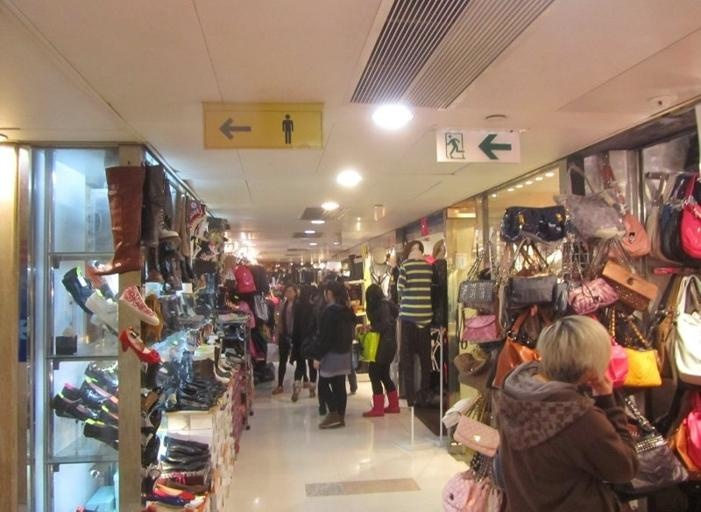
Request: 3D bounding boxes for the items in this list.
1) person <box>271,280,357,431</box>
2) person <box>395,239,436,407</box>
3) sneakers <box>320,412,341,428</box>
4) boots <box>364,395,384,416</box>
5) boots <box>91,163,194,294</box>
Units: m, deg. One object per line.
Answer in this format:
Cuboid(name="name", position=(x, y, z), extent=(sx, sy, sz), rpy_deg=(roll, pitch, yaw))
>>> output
Cuboid(name="person", position=(-0.256, 1.136, 6.343), extent=(0.533, 1.579, 0.618), rpy_deg=(3, 1, -24))
Cuboid(name="person", position=(0.783, 0.840, 6.483), extent=(0.431, 1.914, 0.975), rpy_deg=(3, 1, 7))
Cuboid(name="sneakers", position=(-0.233, 1.906, 6.213), extent=(0.222, 0.154, 0.148), rpy_deg=(3, -13, -3))
Cuboid(name="boots", position=(0.273, 1.865, 6.662), extent=(0.327, 0.320, 0.160), rpy_deg=(1, -5, 2))
Cuboid(name="boots", position=(-1.530, -0.205, 4.095), extent=(0.390, 0.758, 0.869), rpy_deg=(3, 1, 17))
